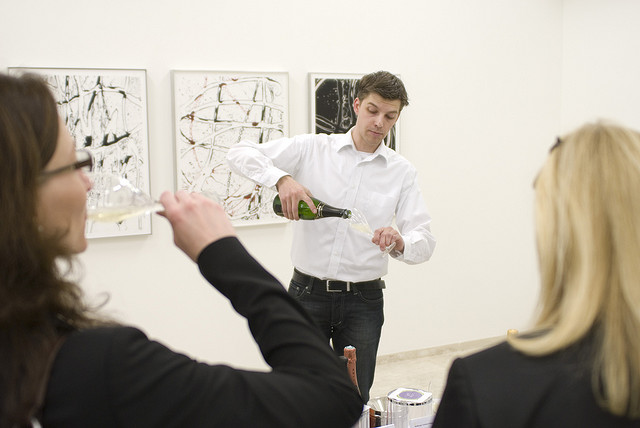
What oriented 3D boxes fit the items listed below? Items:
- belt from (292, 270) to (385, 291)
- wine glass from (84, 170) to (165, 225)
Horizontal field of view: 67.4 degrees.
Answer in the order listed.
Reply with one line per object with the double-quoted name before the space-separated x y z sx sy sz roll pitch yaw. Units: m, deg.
"belt" 0.123 0.340 2.552 0.347 0.102 0.323 2 11 -17
"wine glass" -0.711 -0.069 1.734 0.318 0.139 0.142 11 3 -1
